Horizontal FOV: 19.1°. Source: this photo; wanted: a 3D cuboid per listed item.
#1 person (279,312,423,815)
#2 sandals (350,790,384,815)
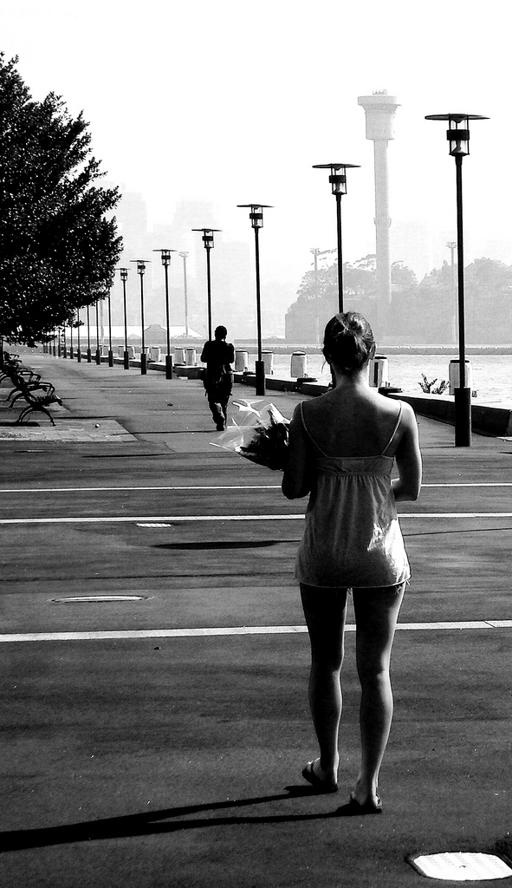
[{"bbox_3d":[0.316,0.391,5.124,0.461,1.642,0.396,0,3,5],"label":"person"},{"bbox_3d":[0.366,1.190,5.077,0.109,0.059,0.142,0,4,4],"label":"sandals"}]
